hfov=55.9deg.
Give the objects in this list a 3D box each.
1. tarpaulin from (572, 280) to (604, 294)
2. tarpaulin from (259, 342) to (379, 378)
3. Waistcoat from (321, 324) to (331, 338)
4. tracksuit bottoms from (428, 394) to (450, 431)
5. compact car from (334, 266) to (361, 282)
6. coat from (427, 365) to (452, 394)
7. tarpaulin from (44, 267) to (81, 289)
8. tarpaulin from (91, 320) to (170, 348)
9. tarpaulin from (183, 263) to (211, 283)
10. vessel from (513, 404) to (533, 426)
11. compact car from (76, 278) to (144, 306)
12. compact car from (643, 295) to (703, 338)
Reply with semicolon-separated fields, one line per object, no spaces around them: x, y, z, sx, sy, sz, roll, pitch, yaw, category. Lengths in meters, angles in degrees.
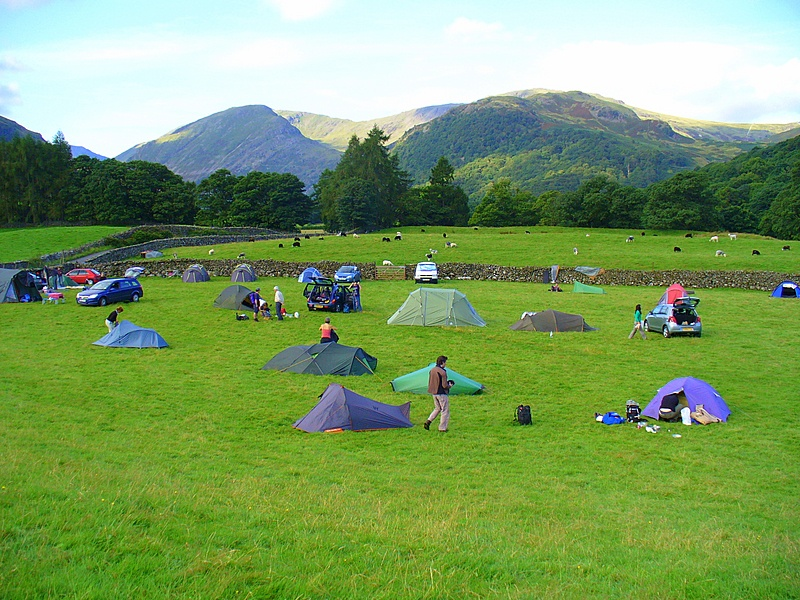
14.402;-0.949;57.807;1.705;0.714;1.042;-1;7;18;tarpaulin
-3.412;2.704;33.425;2.829;0.895;2.325;1;5;18;tarpaulin
-3.395;1.437;34.658;0.556;0.644;0.335;2;6;14;Waistcoat
1.444;4.073;27.523;0.578;1.410;0.410;6;12;21;tracksuit bottoms
-4.247;-2.049;61.614;1.505;1.123;2.581;0;-2;9;compact car
1.403;2.928;27.106;0.704;1.116;0.380;2;12;1;coat
-26.235;-1.444;57.876;1.968;1.019;2.049;2;8;27;tarpaulin
-13.261;1.941;37.740;2.301;0.886;1.810;0;-2;8;tarpaulin
-16.823;-2.103;62.697;1.250;0.937;2.005;-1;1;11;tarpaulin
4.627;4.332;28.349;0.673;0.645;0.564;5;12;14;vessel
-19.423;-0.512;50.456;1.799;1.495;4.014;0;1;34;compact car
15.270;1.020;42.464;2.116;1.715;3.663;1;5;-8;compact car
